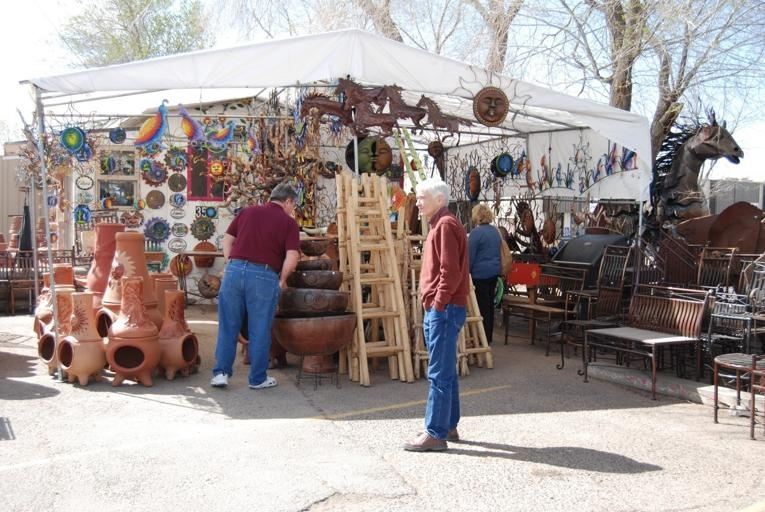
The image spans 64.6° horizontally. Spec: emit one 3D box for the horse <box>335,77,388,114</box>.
[{"bbox_3d":[-0.306,-2.365,8.995,0.916,0.462,0.305,15,26,18],"label":"horse"}]

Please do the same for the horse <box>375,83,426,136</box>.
[{"bbox_3d":[0.275,-2.227,9.132,0.750,0.714,0.218,4,37,-7],"label":"horse"}]

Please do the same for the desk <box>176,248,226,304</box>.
[{"bbox_3d":[-4.192,0.511,14.272,1.021,1.391,0.984,1,12,-12],"label":"desk"}]

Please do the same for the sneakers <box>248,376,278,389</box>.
[{"bbox_3d":[-1.547,1.656,7.924,0.312,0.148,0.138,-7,-6,18],"label":"sneakers"}]

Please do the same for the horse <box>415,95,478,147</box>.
[{"bbox_3d":[1.019,-2.096,9.642,1.073,0.689,0.178,2,9,-19],"label":"horse"}]

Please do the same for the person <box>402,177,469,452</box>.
[{"bbox_3d":[0.608,0.624,6.370,0.547,2.735,0.761,2,11,6],"label":"person"}]

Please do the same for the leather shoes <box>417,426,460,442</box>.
[{"bbox_3d":[0.608,1.898,6.574,0.447,0.285,0.164,3,-4,-10],"label":"leather shoes"}]

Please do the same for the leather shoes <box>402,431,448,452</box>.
[{"bbox_3d":[0.446,1.958,6.376,0.452,0.203,0.192,2,-5,4],"label":"leather shoes"}]

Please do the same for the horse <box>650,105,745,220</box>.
[{"bbox_3d":[6.076,-1.752,11.868,1.432,2.054,1.303,7,12,29],"label":"horse"}]

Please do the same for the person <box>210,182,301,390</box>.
[{"bbox_3d":[-1.678,0.410,7.941,1.156,2.620,0.684,-1,11,-11],"label":"person"}]
